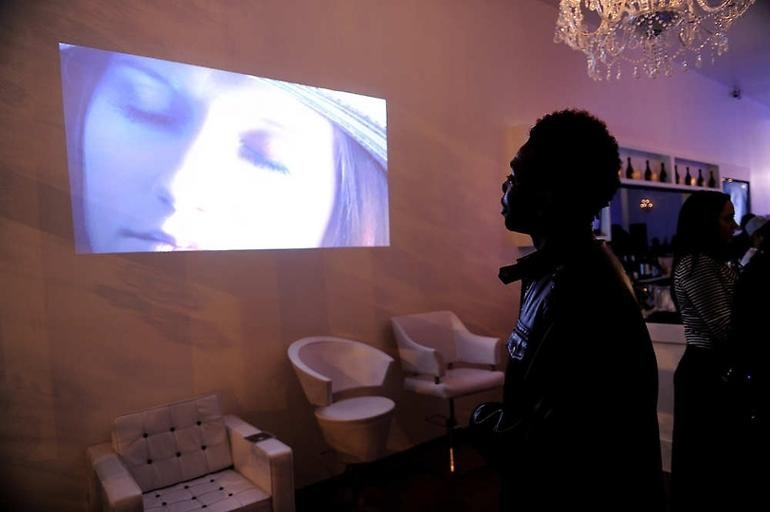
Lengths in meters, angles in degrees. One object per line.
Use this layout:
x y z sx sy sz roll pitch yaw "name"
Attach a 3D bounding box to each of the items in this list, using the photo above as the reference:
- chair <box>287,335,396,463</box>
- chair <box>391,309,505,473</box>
-0.331 1.198 5.037 0.838 1.045 0.704 -3 5 -20 "chair"
0.578 1.166 5.561 0.864 1.254 0.727 -4 5 -31 "chair"
